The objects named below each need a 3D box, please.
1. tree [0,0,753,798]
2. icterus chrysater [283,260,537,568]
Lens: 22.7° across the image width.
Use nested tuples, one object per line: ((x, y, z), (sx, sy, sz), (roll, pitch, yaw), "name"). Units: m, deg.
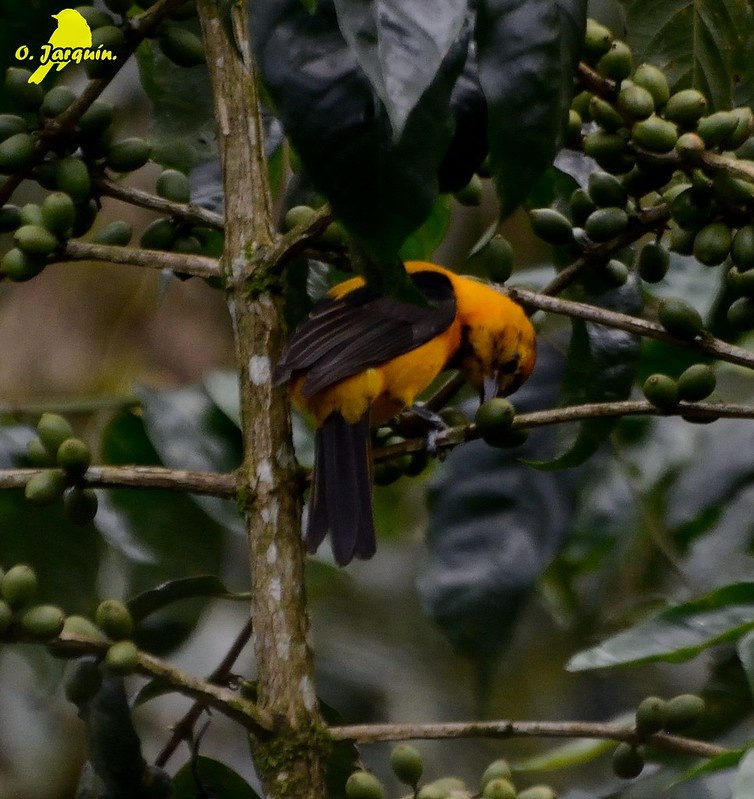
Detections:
((0.116, -0.067, 3.740), (1.638, 1.351, 1.059), (-11, 15, -39), "tree")
((0.043, 0.012, 4.789), (0.276, 0.713, 1.014), (-19, -10, 41), "icterus chrysater")
